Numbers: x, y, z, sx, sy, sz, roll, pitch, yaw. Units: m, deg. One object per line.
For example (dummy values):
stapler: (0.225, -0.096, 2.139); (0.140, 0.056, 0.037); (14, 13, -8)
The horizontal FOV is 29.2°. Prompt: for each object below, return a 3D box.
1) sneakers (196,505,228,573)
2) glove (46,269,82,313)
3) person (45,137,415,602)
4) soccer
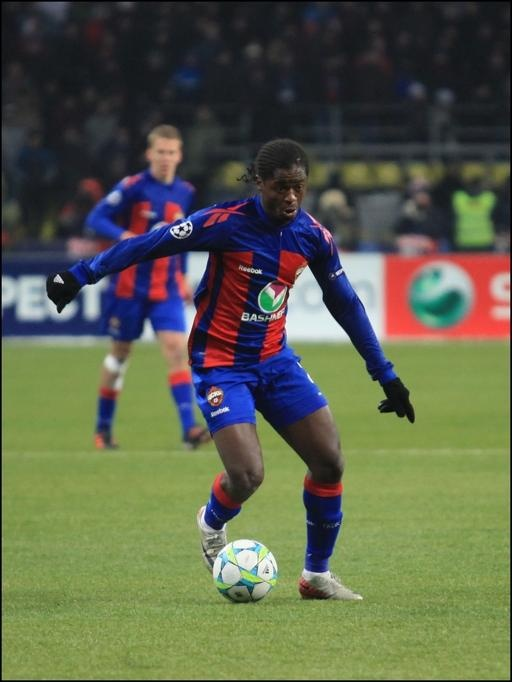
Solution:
sneakers: (-0.189, 0.772, 3.862); (0.104, 0.243, 0.123); (-17, 2, -24)
glove: (-0.700, -0.181, 3.579); (0.114, 0.154, 0.215); (-2, 10, -17)
person: (-0.010, 0.107, 3.747); (1.218, 1.715, 0.560); (3, 11, 7)
soccer: (-0.075, 0.851, 3.664); (0.288, 0.209, 0.240); (5, -12, -16)
